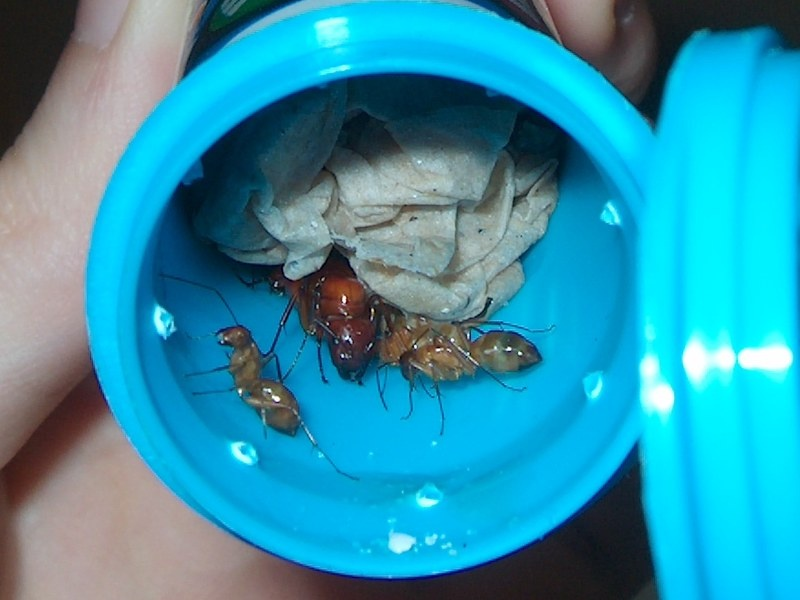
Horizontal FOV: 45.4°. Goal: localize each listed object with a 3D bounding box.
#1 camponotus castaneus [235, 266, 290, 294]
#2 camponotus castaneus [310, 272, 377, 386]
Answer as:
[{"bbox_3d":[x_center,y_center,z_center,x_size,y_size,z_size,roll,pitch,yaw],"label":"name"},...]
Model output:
[{"bbox_3d":[-0.148,-0.021,1.038,0.040,0.028,0.012,27,30,-28],"label":"camponotus castaneus"},{"bbox_3d":[-0.062,0.024,1.047,0.079,0.049,0.140,4,54,-22],"label":"camponotus castaneus"}]
